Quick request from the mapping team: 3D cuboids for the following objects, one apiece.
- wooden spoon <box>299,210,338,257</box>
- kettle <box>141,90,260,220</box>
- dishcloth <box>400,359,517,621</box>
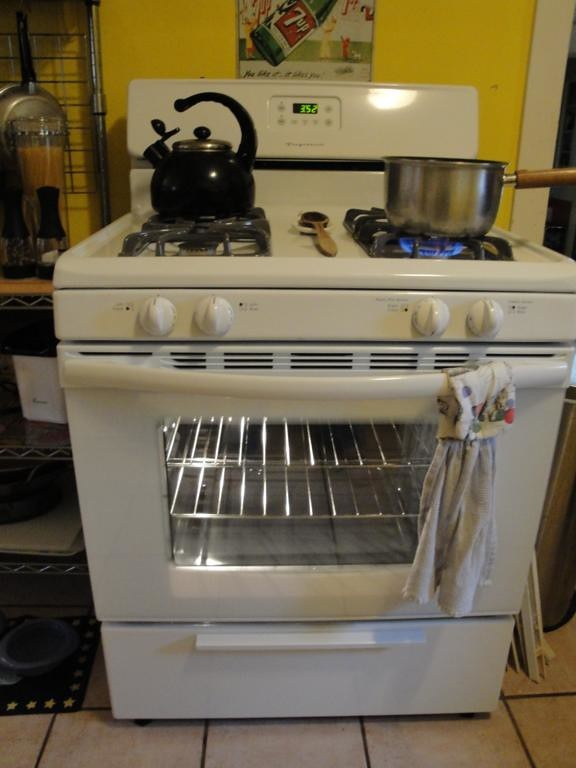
[{"bbox_3d":[0.053,-0.270,1.120,0.041,0.023,0.164,0,30,-4],"label":"wooden spoon"},{"bbox_3d":[-0.145,-0.394,1.137,0.248,0.246,0.214,2,23,-4],"label":"kettle"},{"bbox_3d":[0.253,0.163,0.930,0.129,0.400,0.090,5,28,5],"label":"dishcloth"}]
